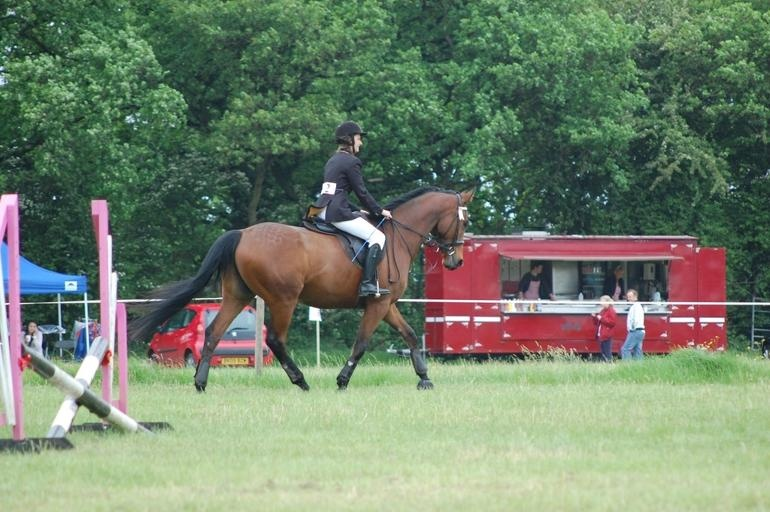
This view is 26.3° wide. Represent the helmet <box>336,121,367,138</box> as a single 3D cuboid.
[{"bbox_3d":[-1.005,-3.552,47.054,0.657,0.302,0.521,-3,4,3],"label":"helmet"}]

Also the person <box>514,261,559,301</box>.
[{"bbox_3d":[5.406,0.805,58.748,0.981,1.355,1.405,0,-2,35],"label":"person"}]

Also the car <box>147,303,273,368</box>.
[{"bbox_3d":[-5.908,2.753,55.766,2.377,1.779,3.848,1,2,-34],"label":"car"}]
